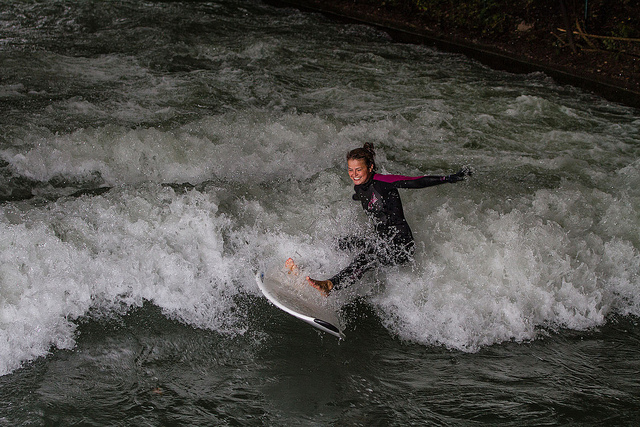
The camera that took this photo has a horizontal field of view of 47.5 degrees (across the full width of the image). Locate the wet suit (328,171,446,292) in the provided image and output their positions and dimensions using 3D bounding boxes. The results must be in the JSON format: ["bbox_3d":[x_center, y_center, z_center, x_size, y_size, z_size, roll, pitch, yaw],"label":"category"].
[{"bbox_3d":[1.033,0.142,10.703,1.647,1.983,1.252,-4,87,-26],"label":"wet suit"}]

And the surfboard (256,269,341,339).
[{"bbox_3d":[-0.273,1.280,9.824,1.145,0.696,0.185,29,100,6],"label":"surfboard"}]
